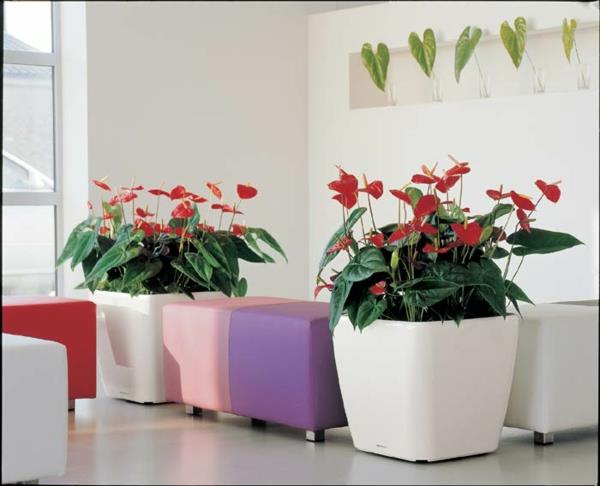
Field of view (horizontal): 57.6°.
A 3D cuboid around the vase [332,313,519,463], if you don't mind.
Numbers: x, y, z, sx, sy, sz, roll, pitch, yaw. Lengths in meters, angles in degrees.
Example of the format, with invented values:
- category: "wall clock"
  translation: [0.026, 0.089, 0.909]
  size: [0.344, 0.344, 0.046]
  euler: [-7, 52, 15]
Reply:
- category: "vase"
  translation: [0.468, 0.485, 2.085]
  size: [0.537, 0.477, 0.507]
  euler: [2, -5, -34]

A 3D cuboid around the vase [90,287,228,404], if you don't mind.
- category: "vase"
  translation: [-0.819, 0.520, 3.011]
  size: [0.566, 0.585, 0.731]
  euler: [0, -2, -14]

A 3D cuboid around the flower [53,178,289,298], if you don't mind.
- category: "flower"
  translation: [-0.755, -0.049, 3.235]
  size: [1.270, 0.733, 1.368]
  euler: [0, -4, -3]

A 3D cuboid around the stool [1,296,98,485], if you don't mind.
- category: "stool"
  translation: [-0.902, 0.526, 1.962]
  size: [0.314, 0.566, 0.625]
  euler: [1, -3, -26]

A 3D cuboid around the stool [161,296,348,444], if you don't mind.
- category: "stool"
  translation: [-0.232, 0.514, 2.400]
  size: [0.944, 0.474, 0.180]
  euler: [-3, -4, 39]

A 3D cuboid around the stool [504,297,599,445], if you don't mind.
- category: "stool"
  translation: [0.996, 0.522, 2.363]
  size: [0.452, 0.519, 0.459]
  euler: [-1, 1, -23]
